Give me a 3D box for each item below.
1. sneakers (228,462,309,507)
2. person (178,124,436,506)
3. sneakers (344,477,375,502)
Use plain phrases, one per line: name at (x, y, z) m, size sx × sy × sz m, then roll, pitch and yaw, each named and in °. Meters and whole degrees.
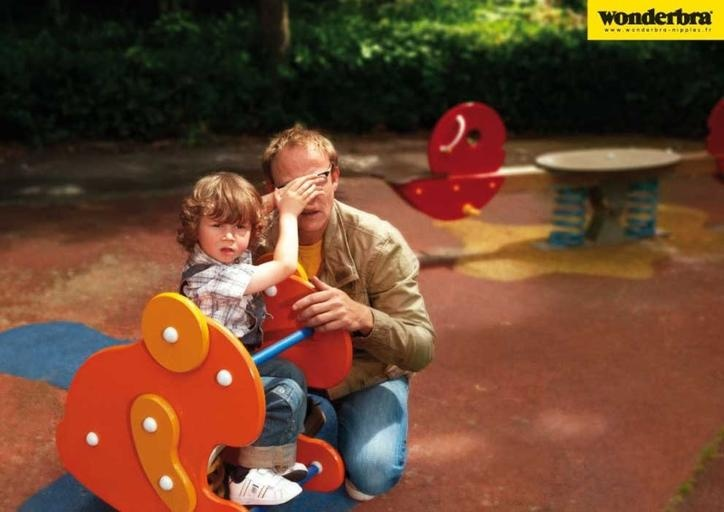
sneakers at (-0.446, 1.068, 3.276) m, size 0.390 × 0.176 × 0.151 m, roll -3°, pitch 32°, yaw 6°
person at (-0.056, 0.340, 3.598) m, size 0.845 × 1.954 × 0.629 m, roll -1°, pitch 18°, yaw -3°
sneakers at (0.000, 1.267, 3.673) m, size 0.124 × 0.089 × 0.121 m, roll -12°, pitch 53°, yaw -14°
